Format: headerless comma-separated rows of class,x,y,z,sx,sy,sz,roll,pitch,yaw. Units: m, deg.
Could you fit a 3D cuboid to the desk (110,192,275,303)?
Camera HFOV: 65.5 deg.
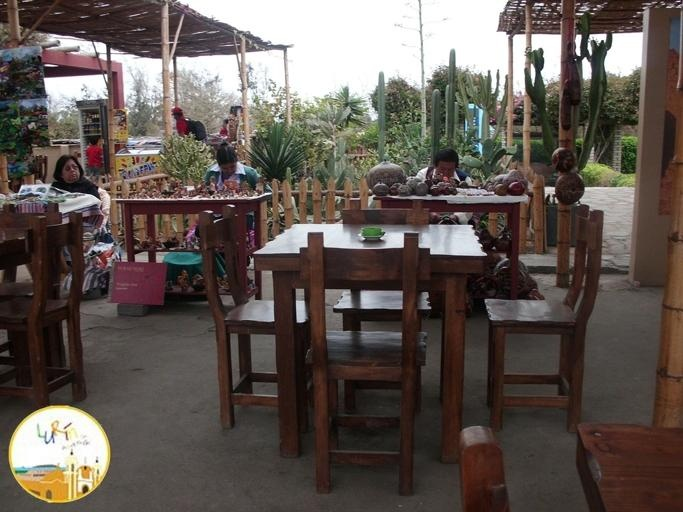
desk,-1.575,-0.103,5.727,1.500,1.074,0.753,-2,2,-6

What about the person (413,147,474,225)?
person,1.155,-0.633,5.978,0.648,1.117,0.586,-1,-4,-2

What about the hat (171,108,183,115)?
hat,-3.619,-3.191,11.691,0.259,0.139,0.380,0,17,-7
